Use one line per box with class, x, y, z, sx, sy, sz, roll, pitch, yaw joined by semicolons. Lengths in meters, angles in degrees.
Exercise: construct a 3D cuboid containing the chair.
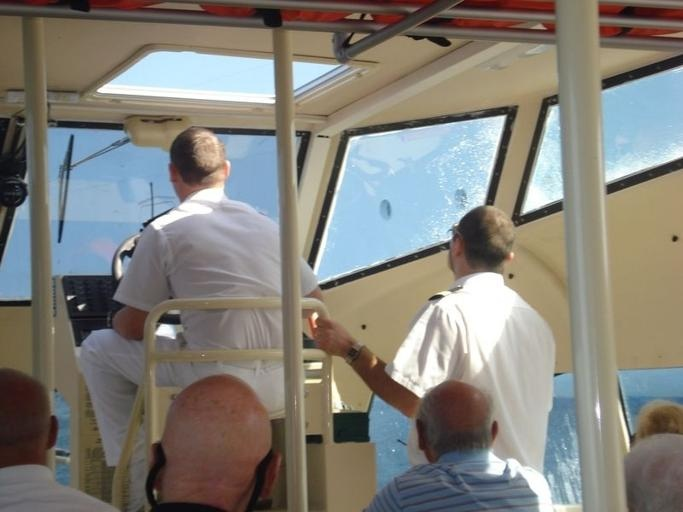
chair;-0.502;0.439;4.744;1.069;1.118;0.911;0;1;-9
